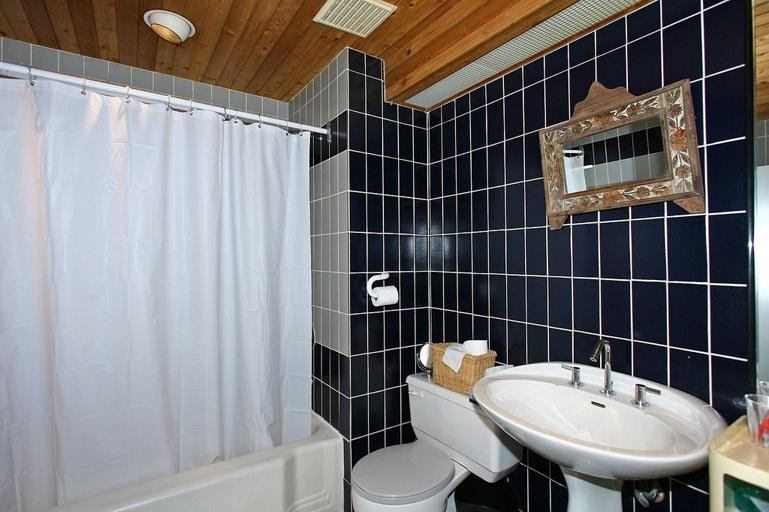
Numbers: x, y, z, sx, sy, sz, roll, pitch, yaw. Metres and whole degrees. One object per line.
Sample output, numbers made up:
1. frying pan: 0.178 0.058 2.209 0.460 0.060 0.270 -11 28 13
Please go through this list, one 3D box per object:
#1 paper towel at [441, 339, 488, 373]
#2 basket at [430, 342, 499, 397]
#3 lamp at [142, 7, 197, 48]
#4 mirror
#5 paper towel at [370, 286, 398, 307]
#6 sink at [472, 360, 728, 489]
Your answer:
1. paper towel: 0.456 0.595 3.181 0.297 0.109 0.225 7 -2 26
2. basket: 0.482 0.606 3.154 0.235 0.236 0.345 4 -3 -32
3. lamp: -1.246 -1.326 3.149 0.283 0.148 0.276 -1 2 44
4. mirror: 1.221 -0.494 2.693 0.052 0.719 0.742 -1 -8 -42
5. paper towel: -0.003 0.212 3.329 0.155 0.147 0.119 -3 10 -29
6. sink: 0.954 0.787 2.513 1.062 0.447 0.579 -1 2 34
